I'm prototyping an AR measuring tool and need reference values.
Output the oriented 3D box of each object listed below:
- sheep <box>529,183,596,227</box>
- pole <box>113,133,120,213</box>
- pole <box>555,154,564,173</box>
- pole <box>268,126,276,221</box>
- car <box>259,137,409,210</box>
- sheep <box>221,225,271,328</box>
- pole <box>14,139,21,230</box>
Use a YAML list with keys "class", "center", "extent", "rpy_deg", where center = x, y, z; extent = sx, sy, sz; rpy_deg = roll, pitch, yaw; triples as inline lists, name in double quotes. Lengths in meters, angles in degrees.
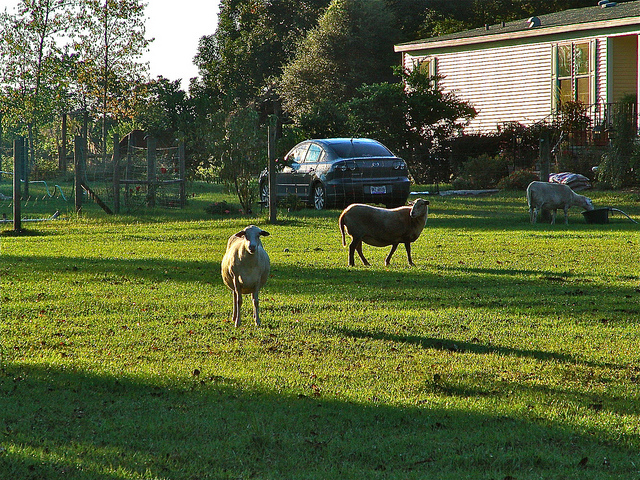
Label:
- class: "sheep"
  center: [7.013, -1.117, 34.450]
  extent: [1.796, 1.171, 0.615]
  rpy_deg: [-1, 3, -21]
- class: "pole"
  center: [-6.991, -2.286, 39.588]
  extent: [0.212, 2.784, 0.182]
  rpy_deg: [-6, 13, -36]
- class: "pole"
  center: [9.071, -2.954, 44.350]
  extent: [0.257, 0.639, 0.716]
  rpy_deg: [0, 2, 7]
- class: "pole"
  center: [-1.458, -1.943, 33.986]
  extent: [0.203, 2.746, 0.751]
  rpy_deg: [-1, 2, -3]
- class: "car"
  center: [0.332, -2.116, 36.936]
  extent: [2.059, 1.796, 4.425]
  rpy_deg: [-2, 6, -26]
- class: "sheep"
  center: [-1.514, 0.721, 23.126]
  extent: [0.887, 2.007, 0.715]
  rpy_deg: [0, 2, 3]
- class: "pole"
  center: [-8.704, -1.630, 33.317]
  extent: [0.288, 2.617, 0.296]
  rpy_deg: [-9, -11, 41]
